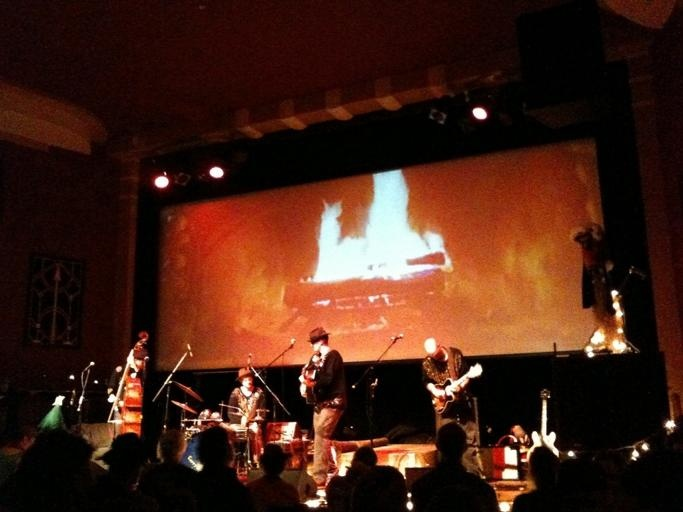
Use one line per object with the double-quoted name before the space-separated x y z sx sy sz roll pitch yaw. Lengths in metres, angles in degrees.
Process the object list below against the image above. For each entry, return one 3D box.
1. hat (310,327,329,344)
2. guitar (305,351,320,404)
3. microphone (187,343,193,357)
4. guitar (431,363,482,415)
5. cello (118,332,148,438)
"hat" -0.341 1.122 8.934 0.261 0.111 0.291 -23 -3 -15
"guitar" -0.402 1.629 8.648 0.216 0.554 0.432 4 -8 -13
"microphone" -2.853 1.756 12.064 0.153 0.229 0.062 2 -18 -8
"guitar" 1.529 1.705 8.193 0.801 0.398 0.515 -34 2 13
"cello" -3.291 2.056 10.143 0.446 2.031 0.888 2 -52 -17
